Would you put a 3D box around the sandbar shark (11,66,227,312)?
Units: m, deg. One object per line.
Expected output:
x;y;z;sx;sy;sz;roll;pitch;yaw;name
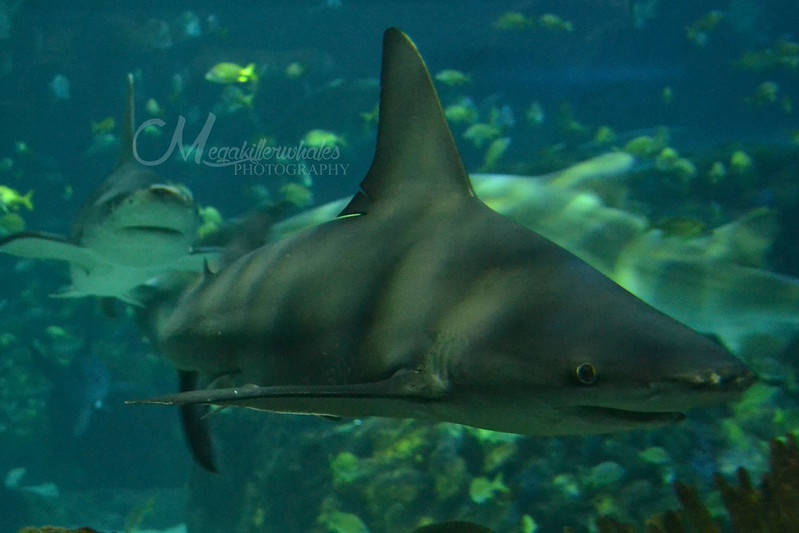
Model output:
-2.679;-0.519;10.263;2.139;2.786;1.118;5;78;-26;sandbar shark

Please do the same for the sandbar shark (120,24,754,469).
-0.178;0.213;10.066;7.437;5.082;2.927;0;87;45;sandbar shark
